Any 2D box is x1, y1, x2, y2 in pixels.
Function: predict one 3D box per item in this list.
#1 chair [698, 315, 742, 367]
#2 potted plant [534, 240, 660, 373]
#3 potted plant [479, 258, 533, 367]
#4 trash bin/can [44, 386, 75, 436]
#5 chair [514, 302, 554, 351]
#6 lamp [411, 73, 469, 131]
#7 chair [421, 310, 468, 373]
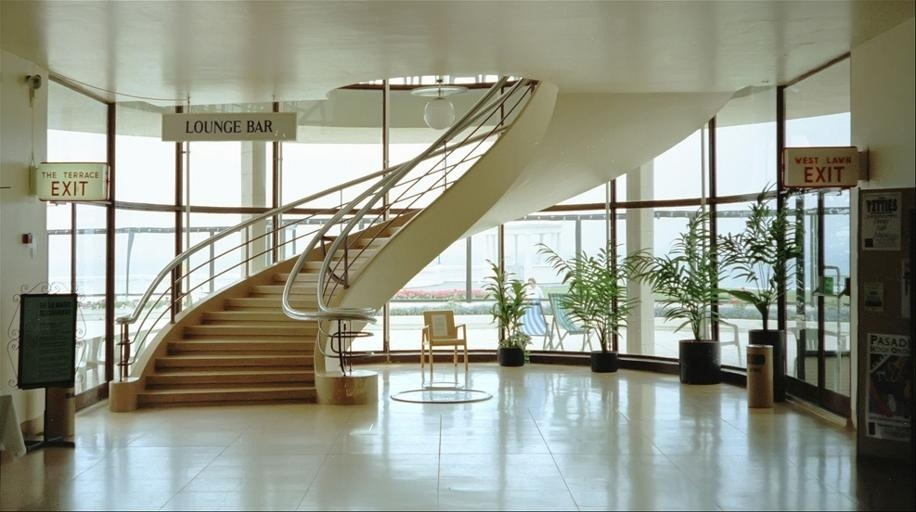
[{"bbox_3d":[4.822,1.550,13.389,0.879,1.105,0.752,-3,-4,19],"label":"chair"},{"bbox_3d":[2.593,1.028,14.338,2.658,2.387,1.804,-1,-7,-16],"label":"potted plant"},{"bbox_3d":[1.028,1.143,14.947,0.858,1.988,1.127,-2,8,-10],"label":"potted plant"},{"bbox_3d":[-5.488,2.165,10.219,0.358,0.695,0.231,-4,9,-21],"label":"trash bin/can"},{"bbox_3d":[1.610,1.383,15.151,0.753,1.147,0.924,-4,10,-1],"label":"chair"},{"bbox_3d":[-0.357,-2.735,13.801,1.145,0.781,1.070,-4,7,-26],"label":"lamp"},{"bbox_3d":[-0.267,1.613,14.189,1.047,0.956,1.022,2,3,37],"label":"chair"}]
